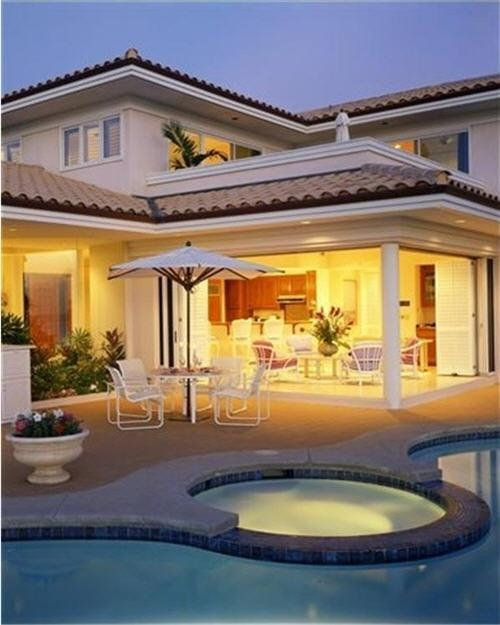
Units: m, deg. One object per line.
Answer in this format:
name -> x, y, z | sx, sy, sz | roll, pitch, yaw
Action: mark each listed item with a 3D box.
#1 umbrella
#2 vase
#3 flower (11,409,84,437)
umbrella -> -0.871, 0.344, 9.440 | 2.846, 2.333, 2.754 | 0, 3, -5
vase -> -1.910, 1.382, 5.977 | 0.689, 0.510, 0.594 | 0, -2, 3
flower -> -1.926, 1.049, 5.993 | 0.395, 0.194, 0.401 | 1, -1, -7
